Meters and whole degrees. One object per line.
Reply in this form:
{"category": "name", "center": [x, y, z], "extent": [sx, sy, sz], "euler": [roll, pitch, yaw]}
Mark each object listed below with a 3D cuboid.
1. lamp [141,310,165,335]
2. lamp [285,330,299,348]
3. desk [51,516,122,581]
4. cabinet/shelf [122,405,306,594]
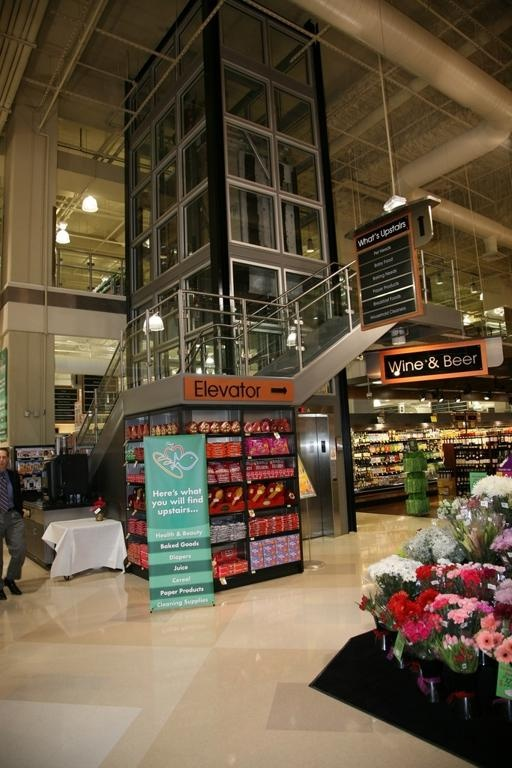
{"category": "lamp", "center": [-1.245, -0.741, 6.898], "extent": [0.240, 0.298, 0.279], "euler": [1, -2, -42]}
{"category": "lamp", "center": [0.486, -0.588, 7.530], "extent": [0.182, 0.318, 0.207], "euler": [1, -6, 2]}
{"category": "desk", "center": [-1.991, 1.979, 6.733], "extent": [0.870, 0.641, 0.616], "euler": [-1, -7, -19]}
{"category": "cabinet/shelf", "center": [-0.490, 1.271, 6.534], "extent": [2.059, 1.940, 2.050], "euler": [-2, -7, -10]}
